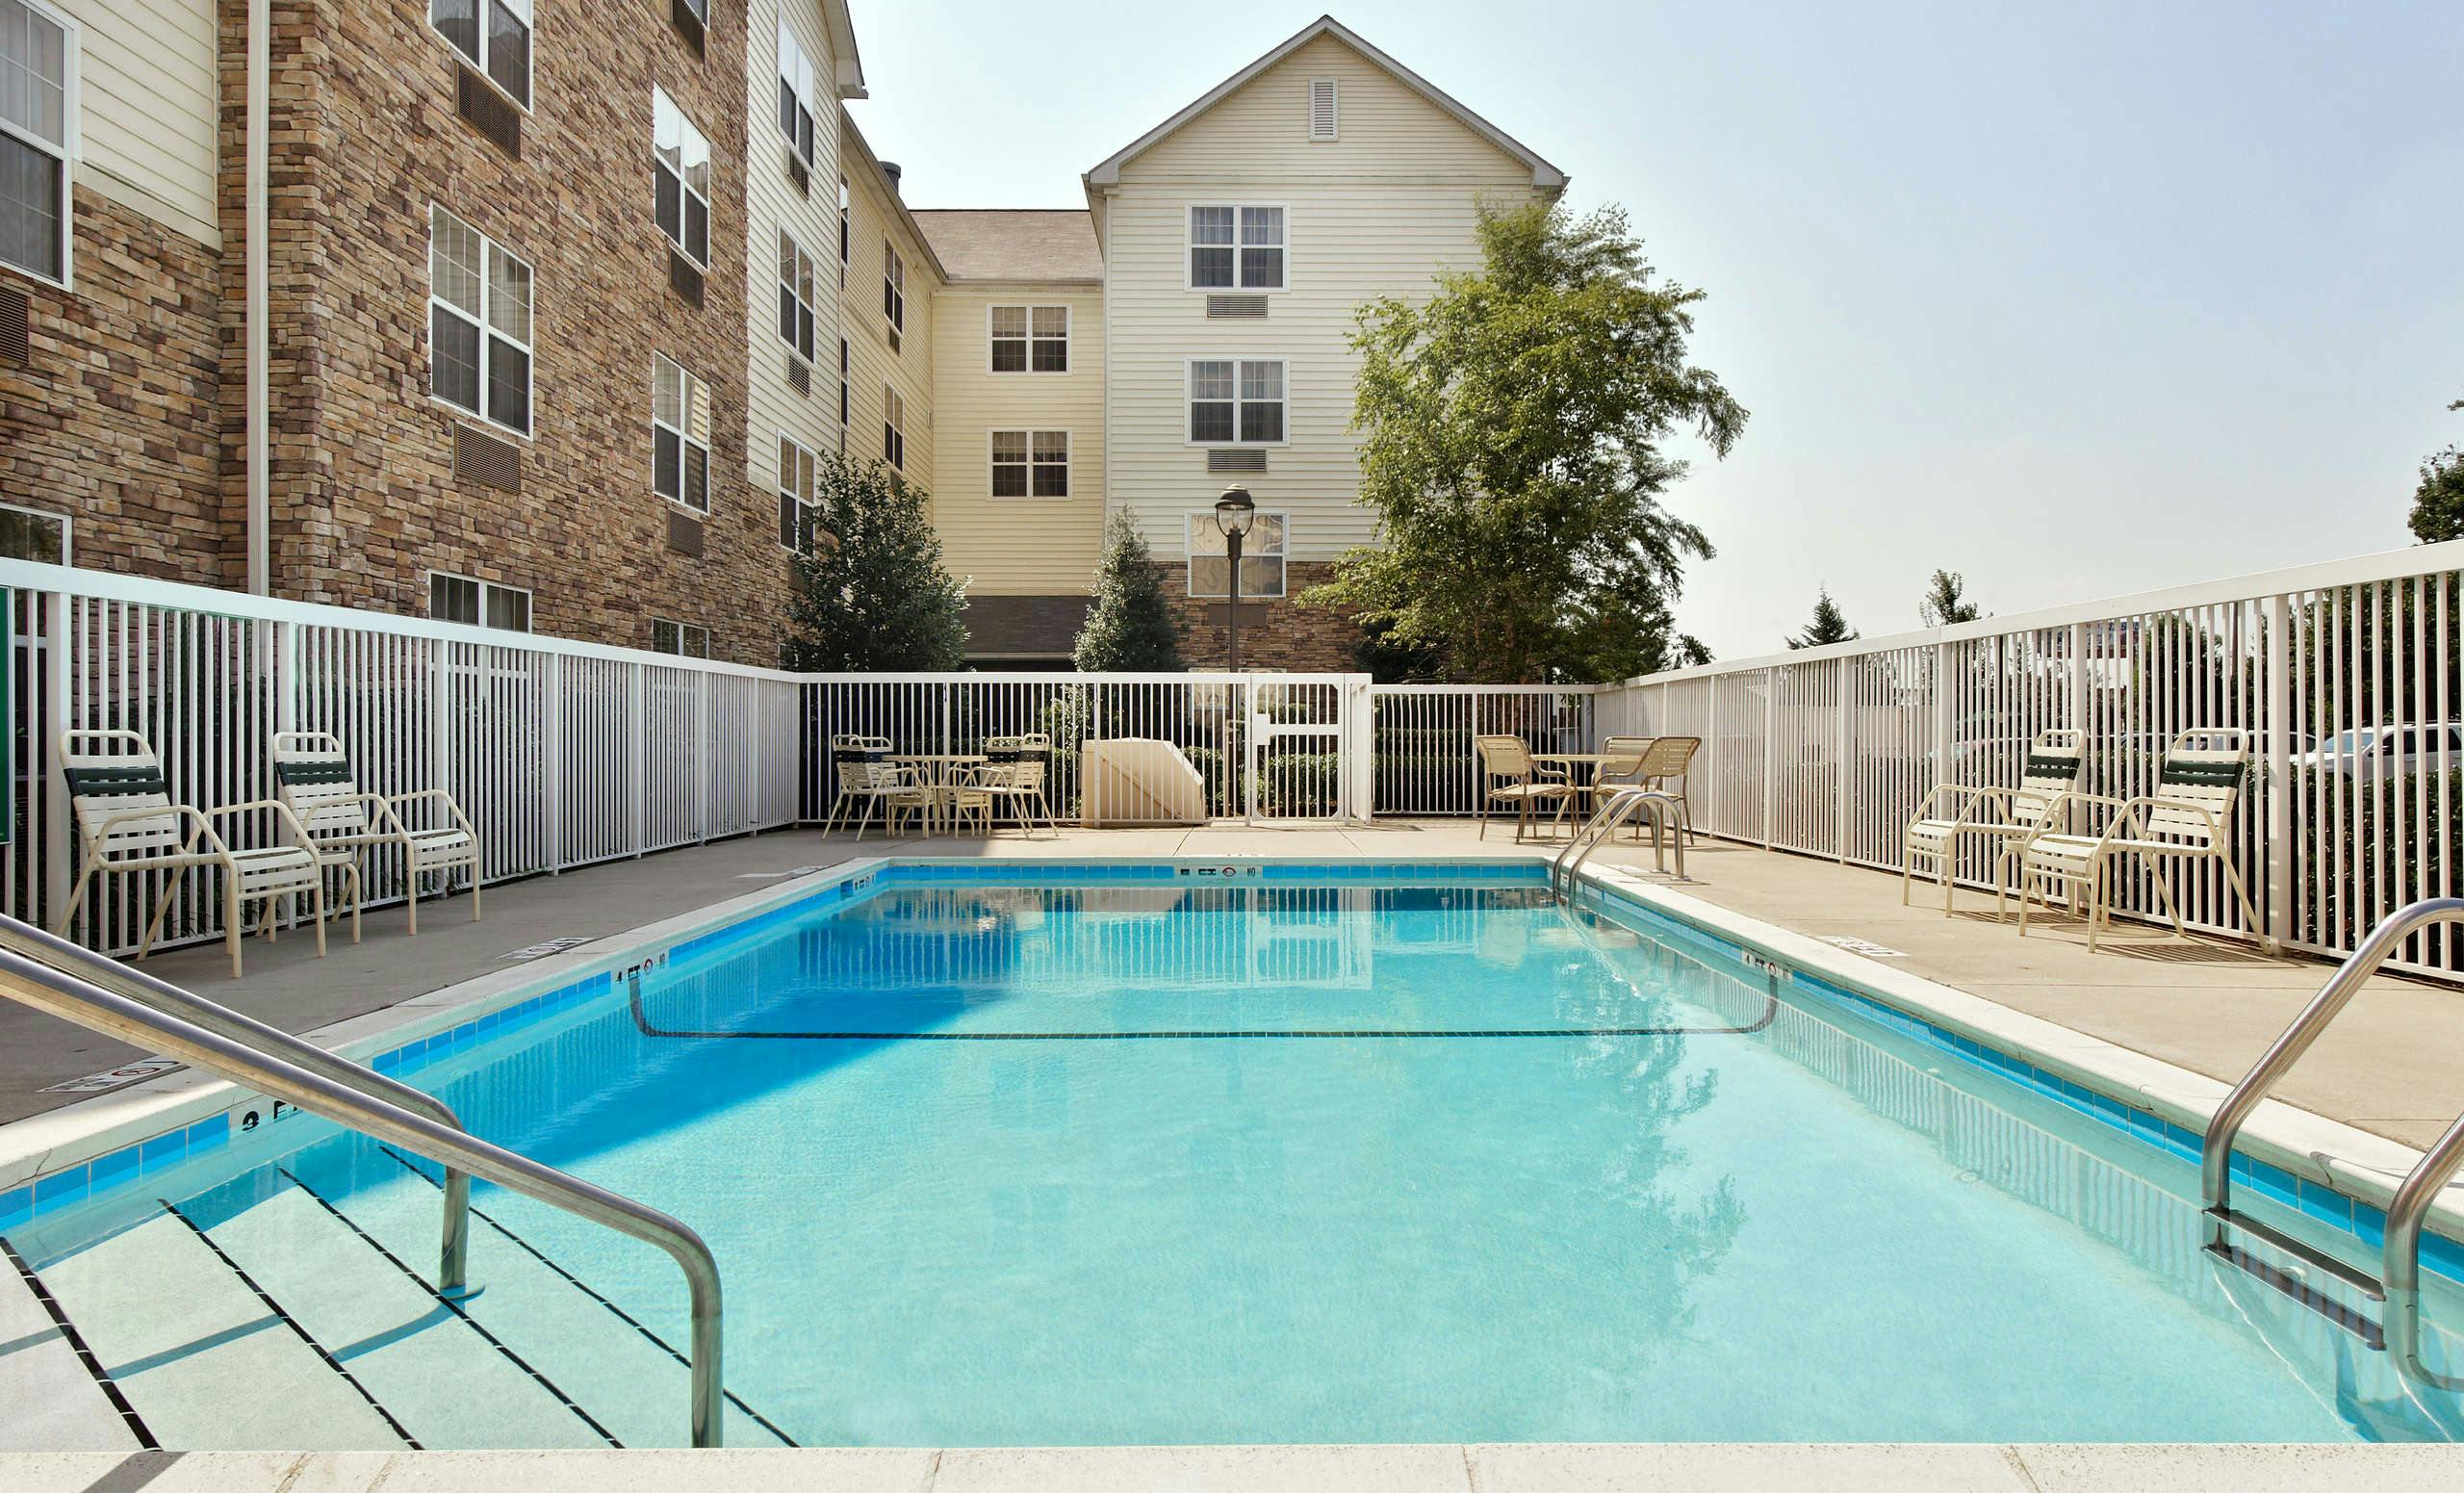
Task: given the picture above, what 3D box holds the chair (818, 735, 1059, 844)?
[{"bbox_3d":[-3.987,0.505,20.522,3.101,1.312,2.726,-1,2,-9],"label":"chair"}]
